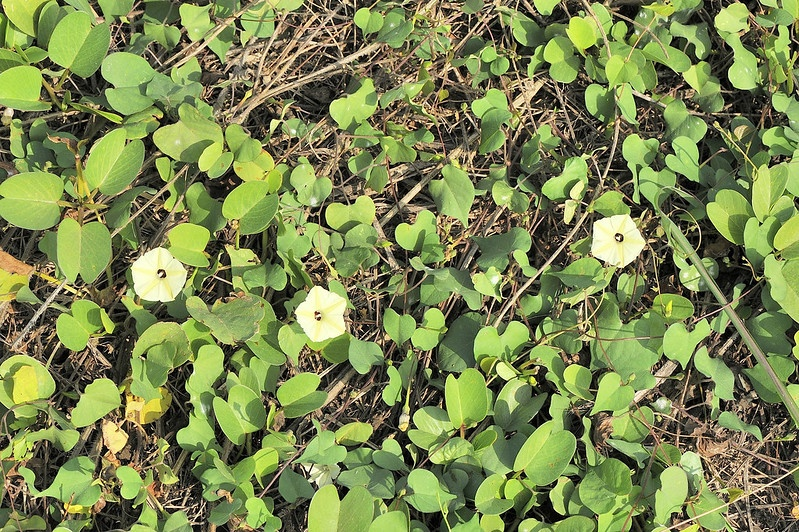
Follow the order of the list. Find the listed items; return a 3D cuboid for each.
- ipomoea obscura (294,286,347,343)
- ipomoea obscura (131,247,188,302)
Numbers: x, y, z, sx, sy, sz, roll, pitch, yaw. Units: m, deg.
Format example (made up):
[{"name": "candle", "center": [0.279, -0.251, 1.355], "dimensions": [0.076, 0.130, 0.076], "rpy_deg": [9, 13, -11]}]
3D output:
[{"name": "ipomoea obscura", "center": [-0.315, 0.189, 2.788], "dimensions": [0.199, 0.267, 0.077], "rpy_deg": [-6, 22, -7]}, {"name": "ipomoea obscura", "center": [-0.955, 0.041, 2.781], "dimensions": [0.188, 0.068, 0.228], "rpy_deg": [15, 91, -2]}]
